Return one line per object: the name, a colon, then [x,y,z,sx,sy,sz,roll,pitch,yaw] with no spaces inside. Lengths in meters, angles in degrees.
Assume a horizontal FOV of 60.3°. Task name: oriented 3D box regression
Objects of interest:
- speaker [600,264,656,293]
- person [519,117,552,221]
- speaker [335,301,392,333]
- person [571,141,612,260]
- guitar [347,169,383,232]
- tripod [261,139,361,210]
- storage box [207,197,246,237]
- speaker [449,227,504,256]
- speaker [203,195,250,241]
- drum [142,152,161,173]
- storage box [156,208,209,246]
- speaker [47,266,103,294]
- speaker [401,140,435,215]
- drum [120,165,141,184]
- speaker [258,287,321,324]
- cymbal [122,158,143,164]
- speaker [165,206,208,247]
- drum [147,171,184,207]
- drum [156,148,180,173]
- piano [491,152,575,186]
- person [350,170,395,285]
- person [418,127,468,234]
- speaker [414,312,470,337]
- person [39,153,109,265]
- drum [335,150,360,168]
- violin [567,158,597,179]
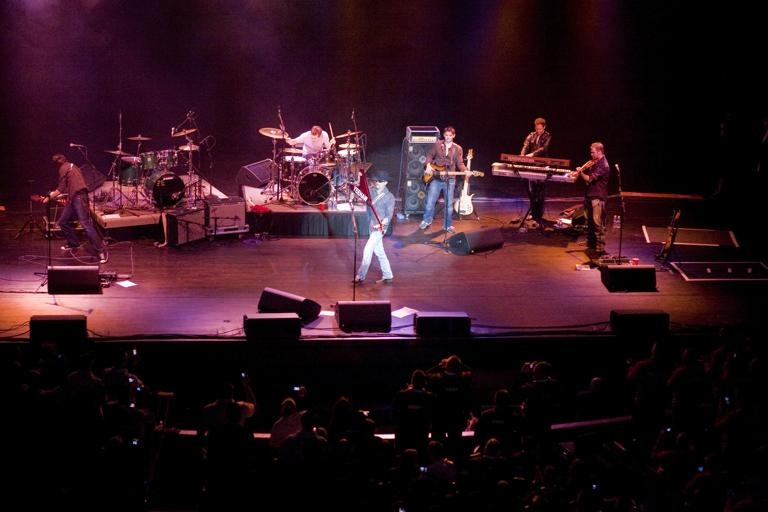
speaker: [4.790,0.422,12.940,0.770,0.401,0.581,0,8,-2]
person: [3.679,-2.189,15.919,0.690,2.726,0.703,-12,24,-30]
speaker: [-0.318,1.006,11.473,0.776,0.382,0.576,1,10,-7]
person: [4.849,-1.240,14.595,1.014,2.361,0.959,0,4,-6]
guitar: [-0.317,-1.064,12.428,0.579,1.152,0.511,-10,25,-26]
tripod: [-1.677,-2.030,16.183,1.774,0.892,1.716,-8,14,-16]
storage box: [-3.700,-0.928,14.987,0.625,0.892,0.999,14,15,41]
speaker: [2.006,-0.354,14.396,1.201,0.503,0.552,0,12,5]
speaker: [-3.601,-0.974,15.149,1.238,1.059,0.808,-4,19,-21]
drum: [-5.406,-2.236,15.401,0.434,0.393,0.420,-3,22,-20]
storage box: [-4.297,-0.679,14.612,0.745,0.758,1.175,11,23,27]
speaker: [-5.489,0.409,11.692,0.926,0.562,0.482,1,-5,-10]
speaker: [0.851,-1.950,16.236,0.674,1.762,0.697,-4,18,-16]
drum: [-5.861,-1.910,15.323,0.431,0.418,0.419,-3,18,-26]
speaker: [-1.615,0.826,11.618,1.094,0.576,0.746,10,19,10]
cymbal: [-5.822,-2.249,15.264,0.457,0.160,0.135,4,13,21]
speaker: [-4.430,-0.706,14.803,0.797,0.803,0.817,-3,4,-37]
drum: [-4.946,-1.544,14.962,0.563,0.821,0.890,11,14,39]
drum: [-5.112,-2.281,15.794,0.669,0.609,0.654,-5,22,-28]
piano: [3.456,-2.063,15.172,1.764,0.598,0.360,2,13,13]
person: [-0.193,-0.494,12.552,0.995,2.113,1.049,-1,5,-24]
person: [1.373,-1.767,15.457,1.029,2.447,1.073,0,3,-5]
speaker: [1.004,1.130,11.075,0.909,0.392,0.147,-1,12,-2]
person: [-6.330,-1.073,13.552,1.372,2.137,0.776,5,11,21]
drum: [-0.839,-2.408,16.346,0.534,0.510,0.520,-6,21,-21]
violin: [4.430,-2.039,14.477,0.589,0.137,0.330,-37,-5,-15]
